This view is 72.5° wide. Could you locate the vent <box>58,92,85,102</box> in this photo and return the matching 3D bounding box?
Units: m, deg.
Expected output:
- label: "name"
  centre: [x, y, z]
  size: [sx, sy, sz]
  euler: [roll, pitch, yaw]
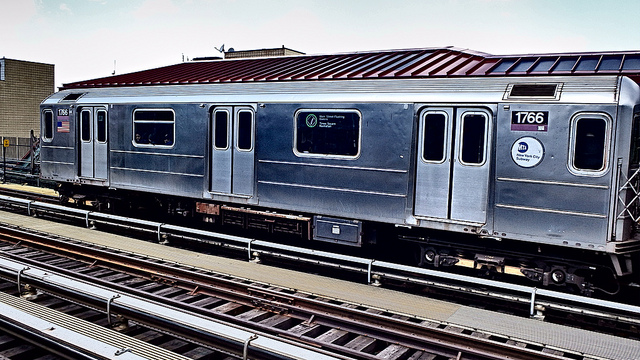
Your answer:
- label: "vent"
  centre: [-8.839, -2.935, 15.597]
  size: [0.847, 0.371, 0.413]
  euler: [8, 8, 33]
